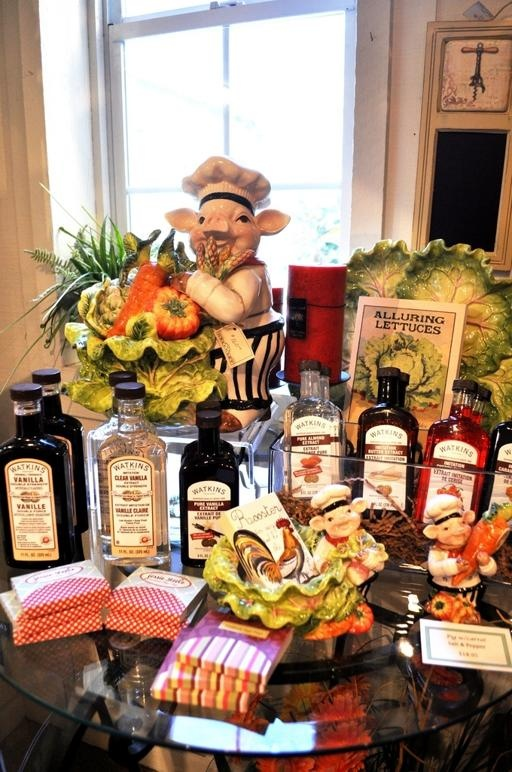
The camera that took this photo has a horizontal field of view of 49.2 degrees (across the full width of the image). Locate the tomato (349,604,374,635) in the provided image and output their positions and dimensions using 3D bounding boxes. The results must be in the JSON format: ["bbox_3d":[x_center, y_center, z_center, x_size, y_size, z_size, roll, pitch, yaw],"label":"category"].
[{"bbox_3d":[0.106,0.233,0.557,0.028,0.016,0.028,-8,31,15],"label":"tomato"}]

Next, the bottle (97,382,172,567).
[{"bbox_3d":[-0.149,0.121,0.677,0.081,0.216,0.052,-5,11,-17],"label":"bottle"}]

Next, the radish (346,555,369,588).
[{"bbox_3d":[0.101,0.181,0.550,0.026,0.030,0.025,-3,2,-3],"label":"radish"}]

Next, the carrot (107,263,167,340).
[{"bbox_3d":[-0.163,-0.124,0.781,0.043,0.150,0.046,26,-18,-2],"label":"carrot"}]

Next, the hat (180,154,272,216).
[{"bbox_3d":[-0.044,-0.305,0.849,0.134,0.074,0.091,-3,10,-4],"label":"hat"}]

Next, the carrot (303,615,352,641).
[{"bbox_3d":[0.070,0.236,0.539,0.040,0.010,0.024,-8,21,-17],"label":"carrot"}]
